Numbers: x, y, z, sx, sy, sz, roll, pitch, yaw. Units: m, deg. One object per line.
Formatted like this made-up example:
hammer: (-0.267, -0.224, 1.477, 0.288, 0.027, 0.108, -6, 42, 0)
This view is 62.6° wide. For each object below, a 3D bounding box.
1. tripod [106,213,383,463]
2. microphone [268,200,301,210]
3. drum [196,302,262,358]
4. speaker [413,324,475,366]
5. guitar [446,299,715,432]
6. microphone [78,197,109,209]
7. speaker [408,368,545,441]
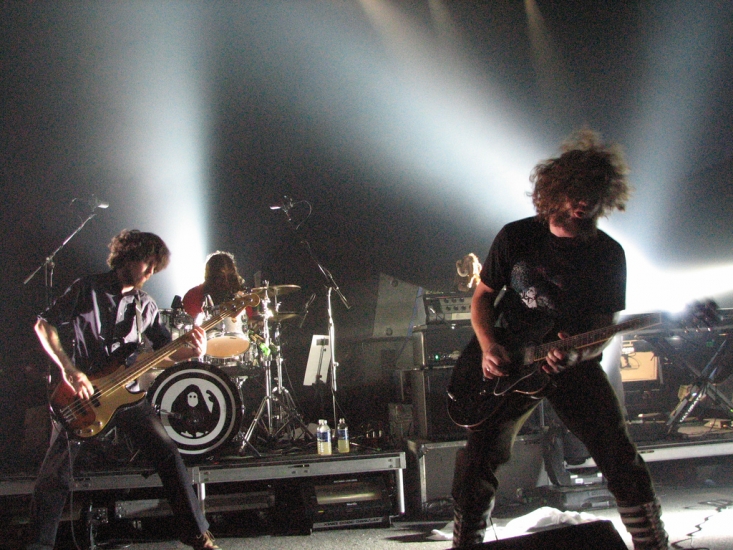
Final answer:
tripod: (-1.119, 0.742, 6.199, 2.157, 1.858, 1.805, 0, -25, -14)
microphone: (-0.848, -0.678, 5.871, 0.238, 0.075, 0.368, 0, -2, -42)
drum: (-1.265, 0.453, 5.538, 0.492, 0.464, 0.485, -5, -39, -7)
speaker: (0.610, 0.563, 5.438, 0.598, 0.337, 0.427, -2, 11, -28)
guitar: (1.120, 0.555, 3.442, 0.191, 0.699, 1.598, 28, -35, -35)
microphone: (-2.439, -0.640, 5.316, 0.257, 0.100, 0.131, 0, -1, -39)
speaker: (0.938, 1.066, 5.244, 1.105, 0.943, 0.631, -1, 1, -11)
